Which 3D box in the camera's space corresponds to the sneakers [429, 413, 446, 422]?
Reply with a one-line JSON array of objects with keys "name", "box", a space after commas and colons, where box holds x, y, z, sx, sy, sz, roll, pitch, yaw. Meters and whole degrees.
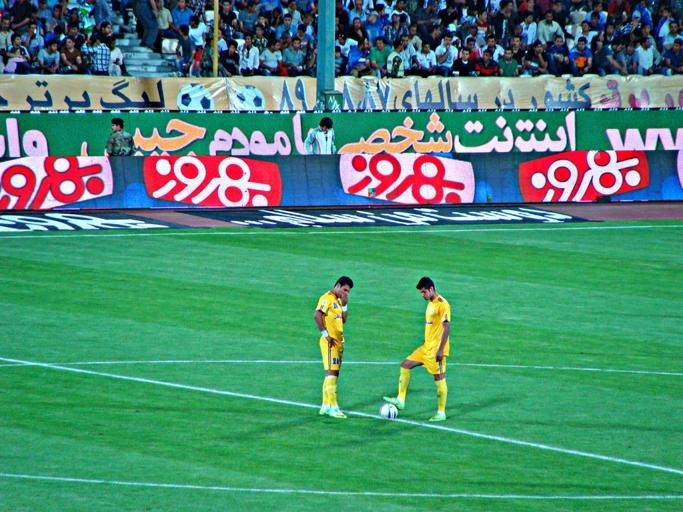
[{"name": "sneakers", "box": [1.769, 3.007, 30.370, 0.297, 0.104, 0.148, 1, -1, -17]}]

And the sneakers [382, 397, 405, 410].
[{"name": "sneakers", "box": [0.989, 2.758, 30.562, 0.494, 0.187, 0.167, 21, 11, 4]}]

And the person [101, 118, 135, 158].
[{"name": "person", "box": [-5.816, -3.034, 41.970, 0.732, 0.978, 0.772, -4, 14, -7]}]

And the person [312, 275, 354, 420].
[{"name": "person", "box": [-0.144, 1.697, 30.520, 0.723, 2.526, 1.071, -3, 15, 0]}]

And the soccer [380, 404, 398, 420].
[{"name": "soccer", "box": [0.857, 2.885, 30.267, 0.266, 0.228, 0.311, 4, 1, 4]}]

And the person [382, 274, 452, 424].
[{"name": "person", "box": [1.514, 1.727, 30.480, 0.934, 2.579, 0.920, 1, 15, 15]}]
